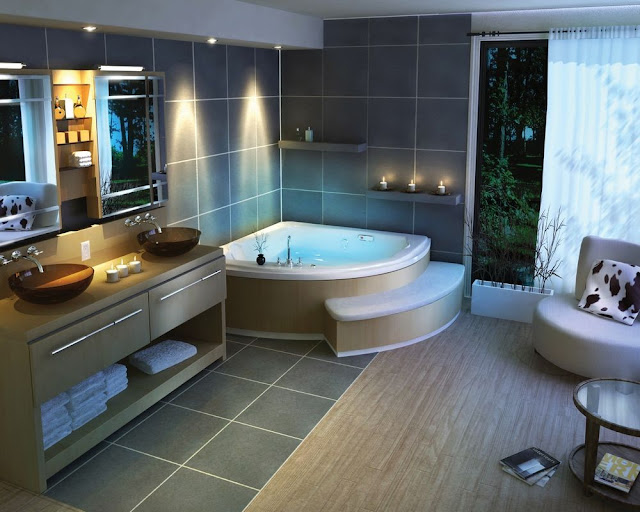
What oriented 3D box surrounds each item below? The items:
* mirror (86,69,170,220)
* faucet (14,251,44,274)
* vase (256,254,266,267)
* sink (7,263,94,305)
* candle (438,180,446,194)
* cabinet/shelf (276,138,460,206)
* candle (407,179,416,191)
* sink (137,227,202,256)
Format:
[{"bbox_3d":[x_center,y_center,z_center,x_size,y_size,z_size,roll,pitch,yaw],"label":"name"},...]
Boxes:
[{"bbox_3d":[-1.452,-0.839,3.320,0.080,1.248,1.026,4,11,18],"label":"mirror"},{"bbox_3d":[-1.760,0.020,2.715,0.152,0.059,0.141,-11,40,-44],"label":"faucet"},{"bbox_3d":[-0.565,0.040,4.258,0.093,0.125,0.098,-3,11,-14],"label":"vase"},{"bbox_3d":[-1.584,0.161,2.653,0.420,0.134,0.609,-8,17,-29],"label":"sink"},{"bbox_3d":[1.363,-0.777,5.020,0.094,0.149,0.116,4,15,17],"label":"candle"},{"bbox_3d":[0.507,-1.002,5.243,2.223,0.700,0.255,6,15,21],"label":"cabinet/shelf"},{"bbox_3d":[1.053,-0.811,5.133,0.089,0.133,0.134,3,15,11],"label":"candle"},{"bbox_3d":[-1.192,-0.112,3.532,0.466,0.148,0.624,-6,16,-20],"label":"sink"}]
